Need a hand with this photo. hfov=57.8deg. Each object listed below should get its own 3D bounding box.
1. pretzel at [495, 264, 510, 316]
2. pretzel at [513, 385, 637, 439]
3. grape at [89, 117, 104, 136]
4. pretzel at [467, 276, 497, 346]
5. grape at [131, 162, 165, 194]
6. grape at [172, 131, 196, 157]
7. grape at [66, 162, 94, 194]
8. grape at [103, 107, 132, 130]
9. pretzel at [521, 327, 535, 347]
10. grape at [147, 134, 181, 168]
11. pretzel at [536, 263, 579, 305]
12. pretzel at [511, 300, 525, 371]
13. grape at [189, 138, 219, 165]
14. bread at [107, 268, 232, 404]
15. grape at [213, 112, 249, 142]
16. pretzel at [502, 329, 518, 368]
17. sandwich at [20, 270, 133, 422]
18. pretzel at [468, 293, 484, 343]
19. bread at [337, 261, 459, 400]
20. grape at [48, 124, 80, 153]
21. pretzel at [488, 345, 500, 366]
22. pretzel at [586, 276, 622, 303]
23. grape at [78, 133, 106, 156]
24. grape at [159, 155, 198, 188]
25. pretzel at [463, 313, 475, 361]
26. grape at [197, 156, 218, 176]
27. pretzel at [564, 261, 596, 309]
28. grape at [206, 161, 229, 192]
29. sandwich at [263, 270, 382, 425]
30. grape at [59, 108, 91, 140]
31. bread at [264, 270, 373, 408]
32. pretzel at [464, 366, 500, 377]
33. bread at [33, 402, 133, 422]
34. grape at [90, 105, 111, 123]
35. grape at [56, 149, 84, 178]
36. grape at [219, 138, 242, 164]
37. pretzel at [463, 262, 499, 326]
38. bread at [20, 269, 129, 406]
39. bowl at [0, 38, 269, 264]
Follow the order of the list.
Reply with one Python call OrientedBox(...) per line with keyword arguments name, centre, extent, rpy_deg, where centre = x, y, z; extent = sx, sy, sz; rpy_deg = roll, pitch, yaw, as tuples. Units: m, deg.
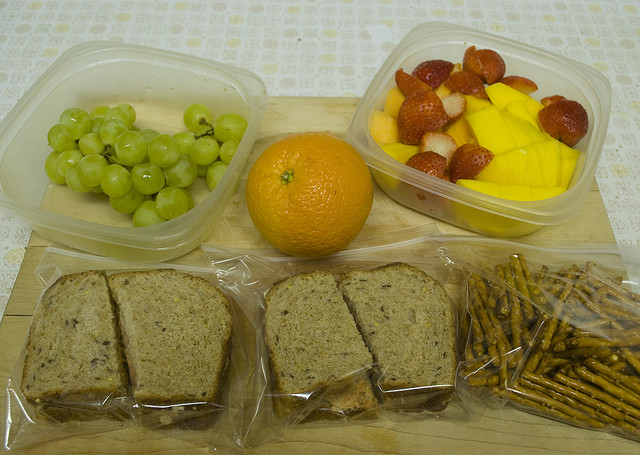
OrientedBox(name="pretzel", centre=(0.469, 0.151, 1.486), extent=(0.023, 0.021, 0.115), rpy_deg=(-11, 55, 18))
OrientedBox(name="pretzel", centre=(0.628, 0.440, 1.397), extent=(0.229, 0.034, 0.027), rpy_deg=(30, 96, 3))
OrientedBox(name="grape", centre=(-0.647, -0.297, 1.678), extent=(0.043, 0.054, 0.043), rpy_deg=(-14, 41, -45))
OrientedBox(name="pretzel", centre=(0.417, 0.218, 1.489), extent=(0.070, 0.110, 0.147), rpy_deg=(-2, 31, 13))
OrientedBox(name="grape", centre=(-0.474, -0.135, 1.586), extent=(0.086, 0.054, 0.072), rpy_deg=(4, 63, -5))
OrientedBox(name="grape", centre=(-0.389, -0.240, 1.683), extent=(0.051, 0.056, 0.068), rpy_deg=(30, 40, 28))
OrientedBox(name="grape", centre=(-0.675, -0.137, 1.595), extent=(0.068, 0.074, 0.091), rpy_deg=(1, 100, 1))
OrientedBox(name="grape", centre=(-0.590, -0.329, 1.697), extent=(0.057, 0.039, 0.074), rpy_deg=(-11, 71, -24))
OrientedBox(name="pretzel", centre=(0.515, 0.271, 1.436), extent=(0.022, 0.009, 0.047), rpy_deg=(-17, 67, -15))
OrientedBox(name="grape", centre=(-0.433, -0.209, 1.598), extent=(0.087, 0.073, 0.076), rpy_deg=(-4, 64, -9))
OrientedBox(name="pretzel", centre=(0.610, 0.148, 1.484), extent=(0.117, 0.026, 0.025), rpy_deg=(-43, 113, -23))
OrientedBox(name="pretzel", centre=(0.492, 0.259, 1.445), extent=(0.024, 0.021, 0.151), rpy_deg=(-3, 74, 7))
OrientedBox(name="grape", centre=(-0.329, -0.215, 1.638), extent=(0.069, 0.056, 0.073), rpy_deg=(0, 72, -7))
OrientedBox(name="bread", centre=(-0.374, 0.272, 1.455), extent=(0.286, 0.076, 0.339), rpy_deg=(10, 66, -16))
OrientedBox(name="grape", centre=(-0.255, -0.285, 1.676), extent=(0.089, 0.074, 0.079), rpy_deg=(-2, 87, 9))
OrientedBox(name="pretzel", centre=(0.467, 0.302, 1.439), extent=(0.024, 0.013, 0.085), rpy_deg=(-10, 66, -11))
OrientedBox(name="sandwich", centre=(-0.599, 0.295, 1.471), extent=(0.252, 0.092, 0.366), rpy_deg=(1, 68, 0))
OrientedBox(name="pretzel", centre=(0.399, 0.239, 1.485), extent=(0.018, 0.017, 0.106), rpy_deg=(-5, 61, -15))
OrientedBox(name="bread", centre=(0.191, 0.255, 1.478), extent=(0.281, 0.072, 0.316), rpy_deg=(7, 68, -2))
OrientedBox(name="grape", centre=(-0.754, -0.263, 1.669), extent=(0.064, 0.068, 0.085), rpy_deg=(-10, 91, -17))
OrientedBox(name="pretzel", centre=(0.433, 0.316, 1.438), extent=(0.021, 0.014, 0.046), rpy_deg=(-10, 77, 9))
OrientedBox(name="pretzel", centre=(0.719, 0.160, 1.470), extent=(0.075, 0.017, 0.012), rpy_deg=(-40, 116, -22))
OrientedBox(name="grape", centre=(-0.638, -0.230, 1.613), extent=(0.056, 0.071, 0.061), rpy_deg=(-17, 53, -17))
OrientedBox(name="grape", centre=(-0.388, -0.153, 1.618), extent=(0.083, 0.067, 0.093), rpy_deg=(1, 61, 0))
OrientedBox(name="pretzel", centre=(0.380, 0.282, 1.487), extent=(0.017, 0.024, 0.105), rpy_deg=(0, 73, -1))
OrientedBox(name="grape", centre=(-0.331, -0.177, 1.685), extent=(0.046, 0.049, 0.050), rpy_deg=(-6, 59, 0))
OrientedBox(name="pretzel", centre=(0.651, 0.149, 1.495), extent=(0.063, 0.093, 0.112), rpy_deg=(3, 29, 22))
OrientedBox(name="grape", centre=(-0.296, -0.153, 1.636), extent=(0.057, 0.061, 0.082), rpy_deg=(9, 64, 12))
OrientedBox(name="sandwich", centre=(-0.022, 0.299, 1.494), extent=(0.243, 0.101, 0.398), rpy_deg=(-16, 53, -13))
OrientedBox(name="grape", centre=(-0.692, -0.287, 1.633), extent=(0.055, 0.069, 0.063), rpy_deg=(19, 65, 17))
OrientedBox(name="bread", centre=(-0.012, 0.291, 1.454), extent=(0.223, 0.085, 0.313), rpy_deg=(-16, 70, -5))
OrientedBox(name="pretzel", centre=(0.404, 0.356, 1.444), extent=(0.088, 0.027, 0.024), rpy_deg=(-5, 77, 12))
OrientedBox(name="bread", centre=(-0.580, 0.449, 1.412), extent=(0.247, 0.084, 0.034), rpy_deg=(3, 62, -5))
OrientedBox(name="grape", centre=(-0.651, -0.332, 1.711), extent=(0.042, 0.045, 0.054), rpy_deg=(25, 46, 7))
OrientedBox(name="grape", centre=(-0.706, -0.187, 1.617), extent=(0.071, 0.088, 0.072), rpy_deg=(16, 31, -7))
OrientedBox(name="grape", centre=(-0.261, -0.213, 1.695), extent=(0.063, 0.078, 0.063), rpy_deg=(0, 51, -14))
OrientedBox(name="pretzel", centre=(0.413, 0.170, 1.535), extent=(0.037, 0.028, 0.176), rpy_deg=(9, 47, -38))
OrientedBox(name="bread", centre=(-0.625, 0.286, 1.472), extent=(0.240, 0.083, 0.352), rpy_deg=(-13, 54, -16))
OrientedBox(name="bowl", centre=(-0.548, -0.234, 1.675), extent=(0.710, 0.229, 0.626), rpy_deg=(15, 63, 0))
